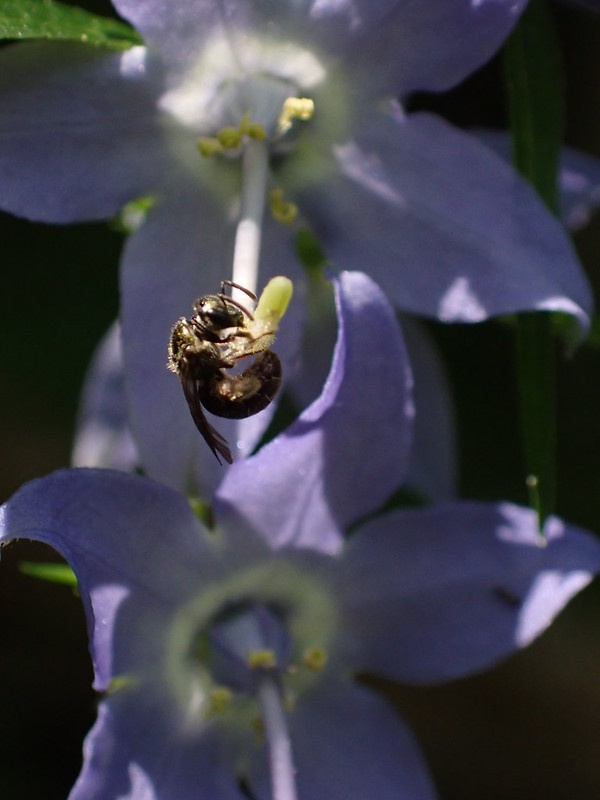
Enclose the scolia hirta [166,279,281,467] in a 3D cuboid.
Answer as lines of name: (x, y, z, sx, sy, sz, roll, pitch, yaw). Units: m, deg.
scolia hirta: (-0.039, -0.008, 0.456, 0.062, 0.075, 0.041, 13, 37, 10)
